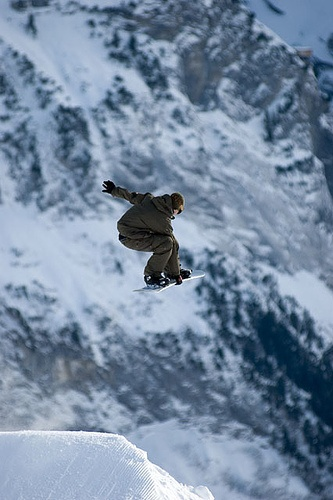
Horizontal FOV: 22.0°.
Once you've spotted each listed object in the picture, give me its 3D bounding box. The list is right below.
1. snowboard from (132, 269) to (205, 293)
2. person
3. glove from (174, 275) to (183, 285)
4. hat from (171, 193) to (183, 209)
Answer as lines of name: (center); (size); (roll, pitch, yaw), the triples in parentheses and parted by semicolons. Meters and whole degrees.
snowboard: (-0.007, 0.638, 16.890); (0.435, 0.186, 1.471); (18, 24, 27)
person: (-0.296, -0.262, 15.640); (0.918, 1.511, 1.600); (-16, 42, -35)
glove: (0.233, 0.580, 15.646); (0.047, 0.144, 0.148); (4, 14, -19)
hat: (0.193, -0.885, 15.492); (0.284, 0.267, 0.205); (-3, 11, -28)
